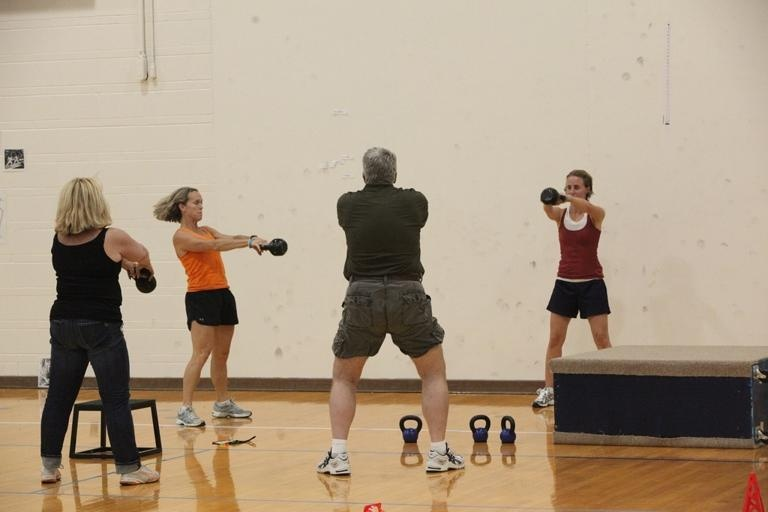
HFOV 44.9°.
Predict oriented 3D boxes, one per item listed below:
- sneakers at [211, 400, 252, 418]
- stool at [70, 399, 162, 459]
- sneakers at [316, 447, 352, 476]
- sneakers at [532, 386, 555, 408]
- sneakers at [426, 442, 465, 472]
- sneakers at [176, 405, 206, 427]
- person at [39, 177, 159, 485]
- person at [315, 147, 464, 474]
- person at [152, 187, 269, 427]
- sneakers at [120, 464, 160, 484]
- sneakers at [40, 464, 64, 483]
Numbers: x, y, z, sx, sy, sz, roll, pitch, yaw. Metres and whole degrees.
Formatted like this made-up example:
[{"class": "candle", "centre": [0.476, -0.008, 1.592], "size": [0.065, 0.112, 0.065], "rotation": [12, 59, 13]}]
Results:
[{"class": "sneakers", "centre": [-1.444, 1.447, 8.747], "size": [0.414, 0.185, 0.148], "rotation": [3, -4, -5]}, {"class": "stool", "centre": [-2.152, 1.437, 7.482], "size": [0.585, 0.424, 0.580], "rotation": [-1, -9, -1]}, {"class": "sneakers", "centre": [-0.374, 1.537, 6.906], "size": [0.123, 0.146, 0.326], "rotation": [0, -1, -33]}, {"class": "sneakers", "centre": [1.585, 1.366, 8.953], "size": [0.350, 0.154, 0.129], "rotation": [3, -6, -29]}, {"class": "sneakers", "centre": [0.437, 1.511, 6.947], "size": [0.355, 0.186, 0.138], "rotation": [1, -2, -38]}, {"class": "sneakers", "centre": [-1.760, 1.456, 8.376], "size": [0.279, 0.134, 0.134], "rotation": [-1, -2, 33]}, {"class": "person", "centre": [-2.094, 0.558, 6.772], "size": [0.826, 2.204, 0.406], "rotation": [0, -5, -6]}, {"class": "person", "centre": [0.018, 0.418, 6.820], "size": [0.894, 2.382, 0.322], "rotation": [-1, -5, -3]}, {"class": "person", "centre": [-1.637, 0.465, 8.441], "size": [0.873, 2.154, 0.780], "rotation": [-1, -5, -1]}, {"class": "sneakers", "centre": [-1.779, 1.609, 6.812], "size": [0.312, 0.130, 0.118], "rotation": [-3, 1, -19]}, {"class": "sneakers", "centre": [-2.469, 1.619, 6.861], "size": [0.077, 0.081, 0.179], "rotation": [1, 1, 4]}]
